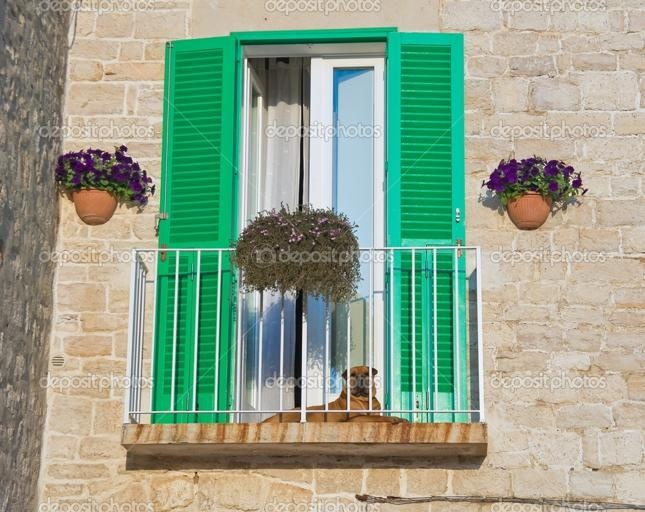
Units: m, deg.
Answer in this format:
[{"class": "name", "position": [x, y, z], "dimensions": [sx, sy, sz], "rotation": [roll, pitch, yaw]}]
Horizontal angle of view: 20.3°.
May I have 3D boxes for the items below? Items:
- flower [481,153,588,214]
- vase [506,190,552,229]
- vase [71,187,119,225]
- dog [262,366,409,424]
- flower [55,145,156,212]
[{"class": "flower", "position": [1.566, -0.591, 13.765], "dimensions": [0.605, 0.399, 0.440], "rotation": [3, -10, -1]}, {"class": "vase", "position": [1.560, -0.355, 13.798], "dimensions": [0.288, 0.215, 0.291], "rotation": [4, -25, 1]}, {"class": "vase", "position": [-1.834, -0.365, 14.083], "dimensions": [0.389, 0.247, 0.397], "rotation": [-4, -14, -15]}, {"class": "dog", "position": [0.139, 1.082, 13.451], "dimensions": [1.188, 0.474, 0.414], "rotation": [-2, -23, 1]}, {"class": "flower", "position": [-1.751, -0.641, 14.093], "dimensions": [0.726, 0.348, 0.559], "rotation": [-4, 12, -18]}]
